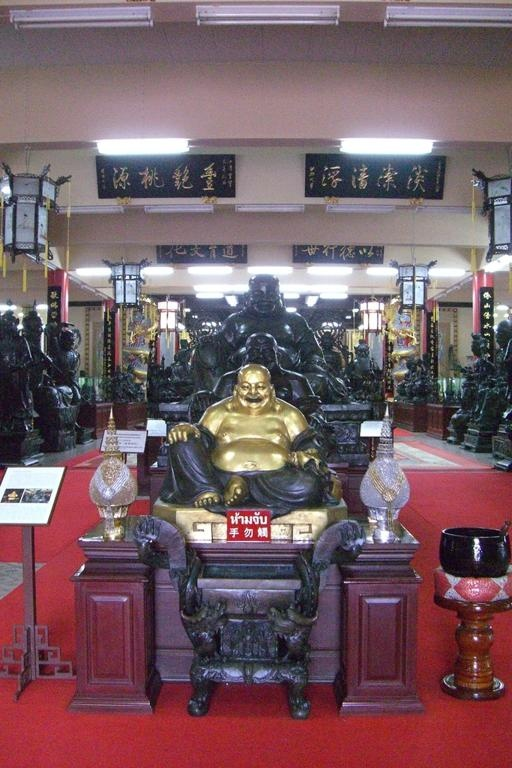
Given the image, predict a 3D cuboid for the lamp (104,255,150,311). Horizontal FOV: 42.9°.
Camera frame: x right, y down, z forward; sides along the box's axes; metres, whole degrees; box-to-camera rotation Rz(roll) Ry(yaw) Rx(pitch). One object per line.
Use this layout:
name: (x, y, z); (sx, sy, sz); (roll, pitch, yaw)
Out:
lamp: (-1.652, -1.370, 8.773); (0.572, 0.700, 0.560); (0, -1, -6)

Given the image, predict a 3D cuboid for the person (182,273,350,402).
person: (0.073, -0.316, 4.456); (1.100, 0.817, 0.594); (1, 7, -4)

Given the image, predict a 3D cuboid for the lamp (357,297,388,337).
lamp: (2.264, -1.340, 12.977); (0.679, 0.796, 0.688); (-2, 11, -6)

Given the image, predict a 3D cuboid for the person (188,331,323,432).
person: (0.011, 0.017, 3.488); (0.750, 0.546, 0.426); (0, -1, 3)

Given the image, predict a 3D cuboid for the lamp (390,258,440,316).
lamp: (2.358, -1.451, 9.752); (0.790, 0.777, 0.711); (-1, 5, -2)

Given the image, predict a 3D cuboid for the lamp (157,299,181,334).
lamp: (-1.581, -1.304, 12.283); (0.532, 0.725, 0.538); (-1, 3, -10)

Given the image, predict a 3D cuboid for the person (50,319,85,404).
person: (-2.622, -0.284, 8.993); (0.386, 1.132, 0.806); (-1, 2, -18)
